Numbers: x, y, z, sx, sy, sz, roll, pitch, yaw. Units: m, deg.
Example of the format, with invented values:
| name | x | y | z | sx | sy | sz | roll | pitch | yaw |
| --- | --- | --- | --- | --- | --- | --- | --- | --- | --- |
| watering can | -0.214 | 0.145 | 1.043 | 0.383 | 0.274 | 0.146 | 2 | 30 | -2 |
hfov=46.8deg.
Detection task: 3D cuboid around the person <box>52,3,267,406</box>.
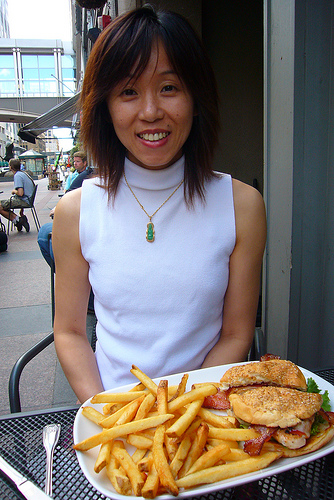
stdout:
| name | x | y | z | sx | sy | sz | roll | pitch | yaw |
| --- | --- | --- | --- | --- | --- | --- | --- | --- | --- |
| person | -0.090 | 0.011 | 1.622 | 0.680 | 1.719 | 0.686 | 4 | 13 | -14 |
